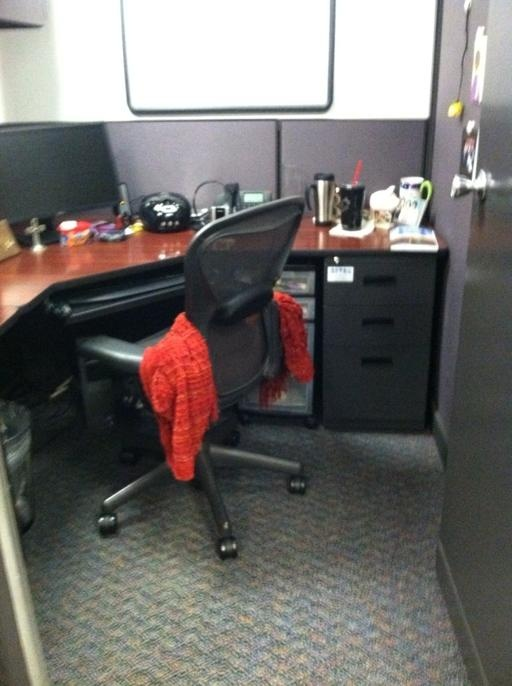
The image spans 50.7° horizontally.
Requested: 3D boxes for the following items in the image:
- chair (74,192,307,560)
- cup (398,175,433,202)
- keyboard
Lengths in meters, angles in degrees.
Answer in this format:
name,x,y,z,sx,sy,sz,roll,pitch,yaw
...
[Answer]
name,x,y,z,sx,sy,sz,roll,pitch,yaw
chair,-0.190,0.126,1.588,0.597,0.957,0.633,22,32,28
cup,0.590,-0.563,1.983,0.097,0.109,0.103,-4,16,1
keyboard,-0.409,-0.178,1.651,0.315,0.048,0.079,-23,53,-39
